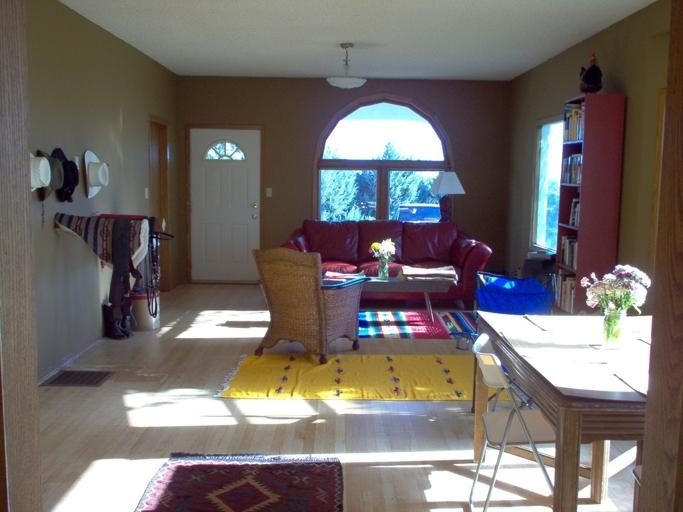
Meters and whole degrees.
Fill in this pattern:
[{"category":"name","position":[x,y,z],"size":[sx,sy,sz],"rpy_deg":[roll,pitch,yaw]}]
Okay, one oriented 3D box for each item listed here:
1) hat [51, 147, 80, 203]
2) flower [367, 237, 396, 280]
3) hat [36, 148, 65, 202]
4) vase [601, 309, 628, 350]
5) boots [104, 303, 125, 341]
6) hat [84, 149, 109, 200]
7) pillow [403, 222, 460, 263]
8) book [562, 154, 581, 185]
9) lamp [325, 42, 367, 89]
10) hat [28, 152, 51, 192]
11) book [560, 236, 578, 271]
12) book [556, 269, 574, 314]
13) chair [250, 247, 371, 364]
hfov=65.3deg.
[{"category":"hat","position":[-2.315,-0.670,4.516],"size":[0.126,0.360,0.309],"rpy_deg":[4,11,1]},{"category":"flower","position":[0.461,-0.004,5.913],"size":[0.365,0.534,0.475],"rpy_deg":[2,1,0]},{"category":"hat","position":[-2.331,-0.652,4.319],"size":[0.101,0.376,0.359],"rpy_deg":[4,10,2]},{"category":"vase","position":[1.342,0.357,2.612],"size":[0.109,0.200,0.114],"rpy_deg":[5,-18,16]},{"category":"boots","position":[-2.243,0.642,5.261],"size":[0.148,0.315,0.247],"rpy_deg":[-8,12,-42]},{"category":"hat","position":[-2.305,-0.776,5.065],"size":[0.173,0.454,0.393],"rpy_deg":[-2,9,-11]},{"category":"pillow","position":[1.141,-0.175,6.990],"size":[0.568,0.574,0.219],"rpy_deg":[-1,-10,3]},{"category":"book","position":[2.310,-0.865,5.326],"size":[0.157,0.304,0.304],"rpy_deg":[1,11,17]},{"category":"lamp","position":[0.052,-2.117,6.138],"size":[0.536,0.556,0.560],"rpy_deg":[0,3,3]},{"category":"hat","position":[-2.209,-0.621,3.919],"size":[0.123,0.216,0.185],"rpy_deg":[-5,11,-30]},{"category":"book","position":[2.325,-0.037,5.422],"size":[0.171,0.323,0.327],"rpy_deg":[0,4,7]},{"category":"book","position":[2.298,0.347,5.457],"size":[0.143,0.413,0.417],"rpy_deg":[1,7,4]},{"category":"chair","position":[-0.294,0.335,4.803],"size":[0.932,1.194,0.910],"rpy_deg":[2,5,29]}]
